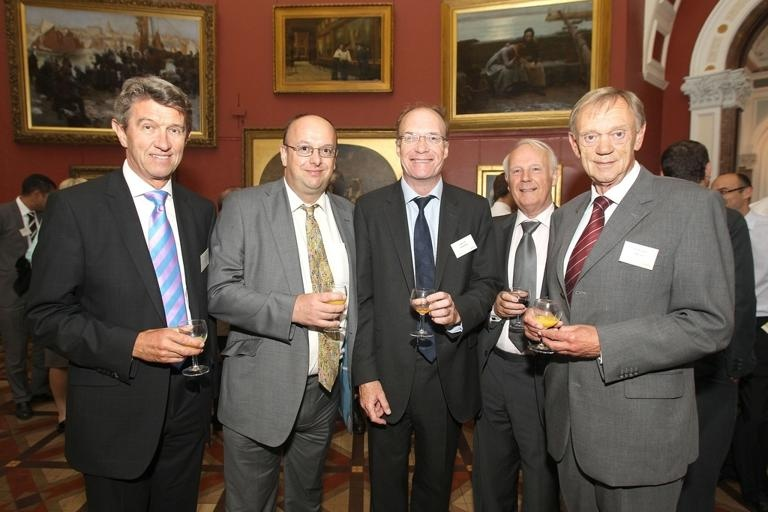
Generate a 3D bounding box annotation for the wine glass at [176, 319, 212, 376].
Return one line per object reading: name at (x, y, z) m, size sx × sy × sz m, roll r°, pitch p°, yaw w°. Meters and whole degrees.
wine glass at (-1.308, 0.654, 4.011) m, size 0.219 × 0.302 × 0.228 m, roll 6°, pitch 19°, yaw 14°

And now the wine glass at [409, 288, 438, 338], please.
wine glass at (0.272, 0.424, 4.223) m, size 0.163 × 0.398 × 0.232 m, roll 0°, pitch 10°, yaw 6°

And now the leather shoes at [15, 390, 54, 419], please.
leather shoes at (-4.003, 1.666, 6.662) m, size 0.410 × 0.294 × 0.141 m, roll -27°, pitch 41°, yaw -37°

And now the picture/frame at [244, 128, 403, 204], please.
picture/frame at (-0.642, -1.261, 8.390) m, size 1.910 × 1.178 × 0.086 m, roll -3°, pitch 24°, yaw -16°
